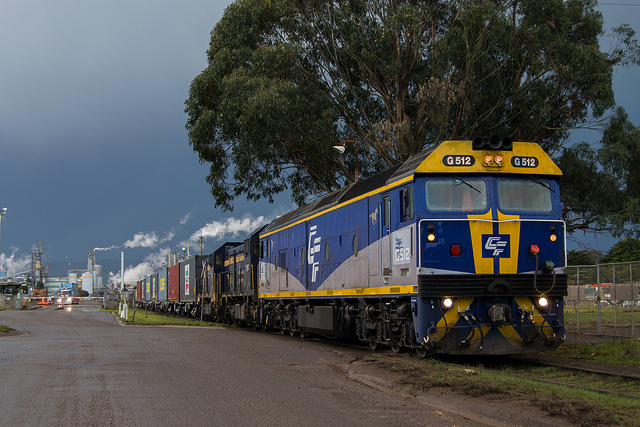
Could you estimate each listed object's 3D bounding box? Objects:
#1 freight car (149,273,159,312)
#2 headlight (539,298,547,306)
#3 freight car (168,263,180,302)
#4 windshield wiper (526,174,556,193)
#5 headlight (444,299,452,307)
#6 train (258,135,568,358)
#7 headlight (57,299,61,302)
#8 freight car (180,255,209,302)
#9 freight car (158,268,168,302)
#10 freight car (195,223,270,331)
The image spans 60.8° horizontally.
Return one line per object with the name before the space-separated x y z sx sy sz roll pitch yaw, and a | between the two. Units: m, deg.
freight car | -19.472 9.401 64.457 0.904 4.226 9.334 2 -12 -17
headlight | 6.247 2.479 15.323 0.175 0.047 0.180 -22 -33 32
freight car | -13.715 6.563 51.408 1.162 3.299 3.358 1 -7 -15
windshield wiper | 6.385 -0.872 15.887 0.851 0.070 0.060 35 -10 -1
headlight | 3.519 2.459 15.055 0.162 0.201 0.041 4 5 14
train | 1.632 2.369 23.818 4.406 6.725 18.803 4 -10 -20
headlight | -41.785 13.900 87.542 0.590 0.484 0.363 -3 -17 -3
freight car | -9.900 5.211 43.388 2.355 4.605 3.403 0 -4 -4
freight car | -16.349 7.502 56.862 0.822 3.342 6.278 2 -12 -18
freight car | -5.594 4.512 36.451 2.851 5.491 12.062 -2 -7 -31
